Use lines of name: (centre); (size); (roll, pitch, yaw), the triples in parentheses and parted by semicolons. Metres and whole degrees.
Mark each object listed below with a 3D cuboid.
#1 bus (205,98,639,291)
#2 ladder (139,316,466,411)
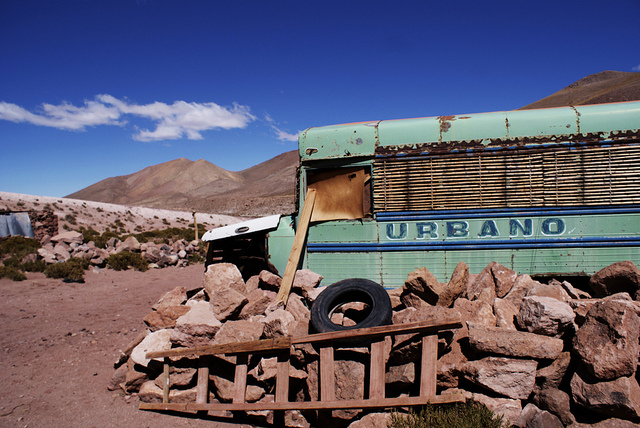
bus: (1.689, -0.176, 13.483); (11.772, 5.088, 4.272); (-4, -6, 10)
ladder: (-0.849, 3.307, 9.833); (7.070, 1.633, 0.467); (-11, -25, 19)
